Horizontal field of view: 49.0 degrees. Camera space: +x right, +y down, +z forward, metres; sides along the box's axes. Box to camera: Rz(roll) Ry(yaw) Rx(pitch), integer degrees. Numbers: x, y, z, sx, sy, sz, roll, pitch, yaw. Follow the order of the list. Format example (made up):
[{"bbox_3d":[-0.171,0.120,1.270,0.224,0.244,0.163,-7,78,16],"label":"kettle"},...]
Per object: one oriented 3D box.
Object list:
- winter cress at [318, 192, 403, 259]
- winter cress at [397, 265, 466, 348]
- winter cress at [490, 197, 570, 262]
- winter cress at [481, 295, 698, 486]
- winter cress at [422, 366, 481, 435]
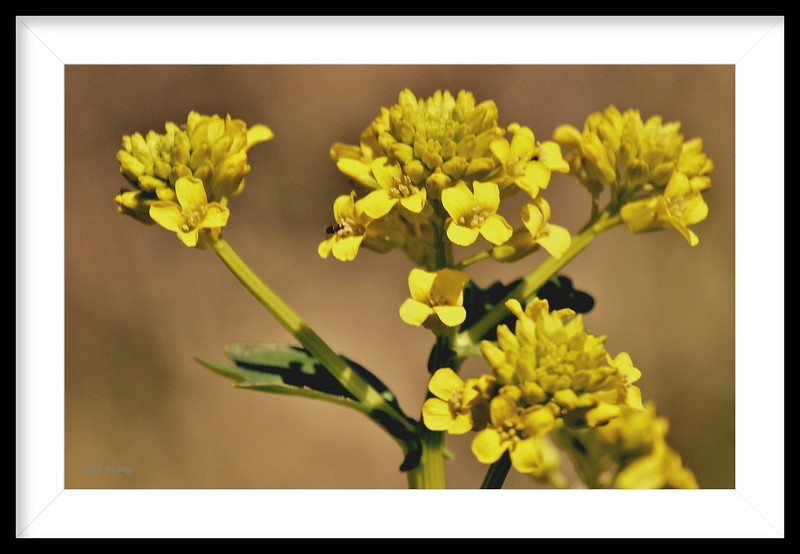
[{"bbox_3d":[-0.185,-0.276,3.812,0.291,0.136,0.341,-16,13,15],"label":"winter cress"},{"bbox_3d":[0.143,0.119,3.712,0.306,0.151,0.345,-21,48,-26],"label":"winter cress"},{"bbox_3d":[0.537,-0.188,3.691,0.209,0.231,0.192,32,49,20],"label":"winter cress"},{"bbox_3d":[0.807,0.517,3.838,0.877,0.496,0.590,18,42,-30],"label":"winter cress"},{"bbox_3d":[0.269,0.556,3.769,0.335,0.162,0.343,-10,0,24],"label":"winter cress"}]
